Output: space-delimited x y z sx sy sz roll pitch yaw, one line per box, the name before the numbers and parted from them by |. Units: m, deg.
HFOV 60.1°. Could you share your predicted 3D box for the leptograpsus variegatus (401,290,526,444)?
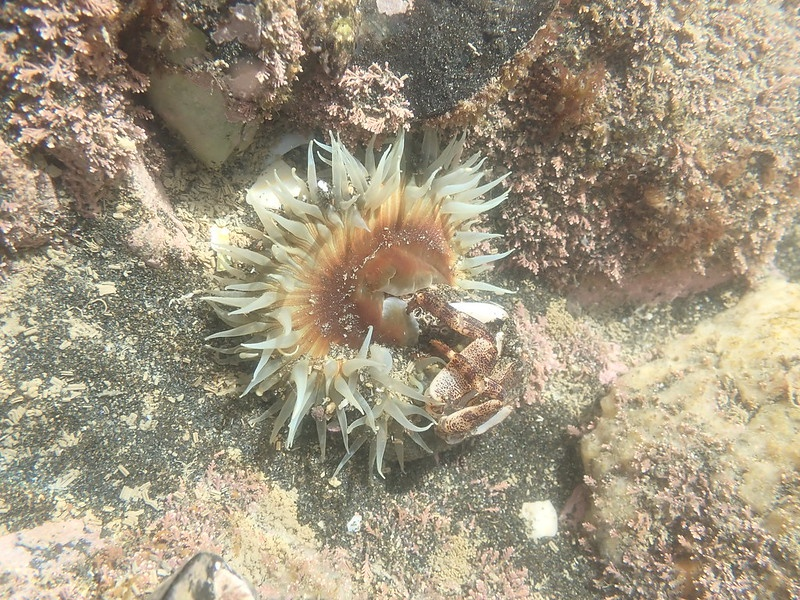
leptograpsus variegatus | 0.548 0.553 5.580 1.071 0.458 1.261 -5 103 -13
